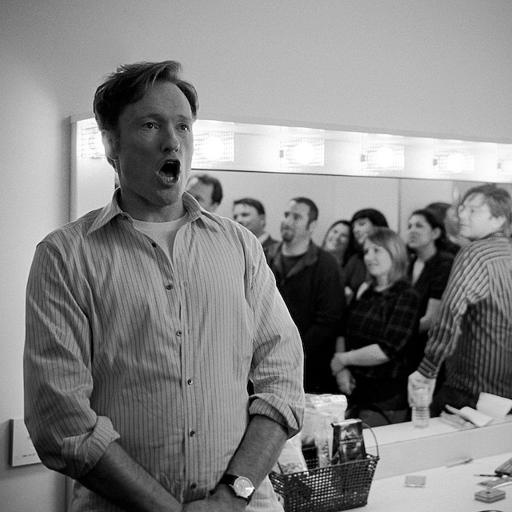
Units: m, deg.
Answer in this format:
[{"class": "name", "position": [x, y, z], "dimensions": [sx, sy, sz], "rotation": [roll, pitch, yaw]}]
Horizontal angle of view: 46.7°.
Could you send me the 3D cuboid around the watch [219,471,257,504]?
[{"class": "watch", "position": [-0.021, 0.346, 0.908], "dimensions": [0.052, 0.056, 0.034], "rotation": [-25, 29, 39]}]
